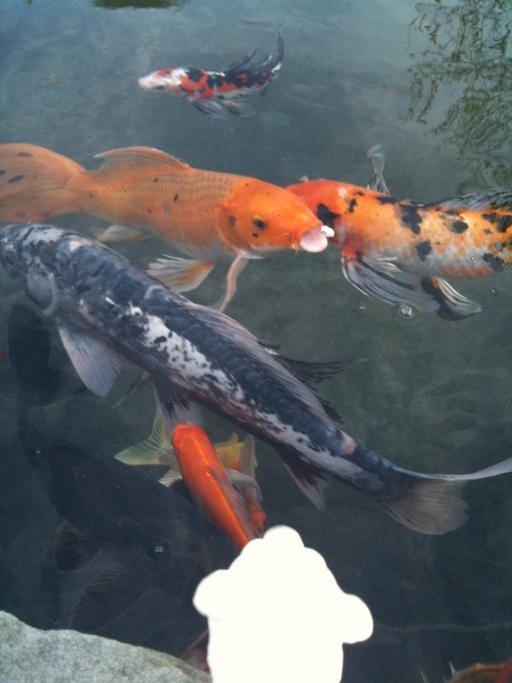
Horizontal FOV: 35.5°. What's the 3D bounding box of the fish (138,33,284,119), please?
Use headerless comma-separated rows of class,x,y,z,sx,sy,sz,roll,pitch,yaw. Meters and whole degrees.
fish,-0.334,-2.382,7.415,1.538,0.623,0.455,-9,61,-2
